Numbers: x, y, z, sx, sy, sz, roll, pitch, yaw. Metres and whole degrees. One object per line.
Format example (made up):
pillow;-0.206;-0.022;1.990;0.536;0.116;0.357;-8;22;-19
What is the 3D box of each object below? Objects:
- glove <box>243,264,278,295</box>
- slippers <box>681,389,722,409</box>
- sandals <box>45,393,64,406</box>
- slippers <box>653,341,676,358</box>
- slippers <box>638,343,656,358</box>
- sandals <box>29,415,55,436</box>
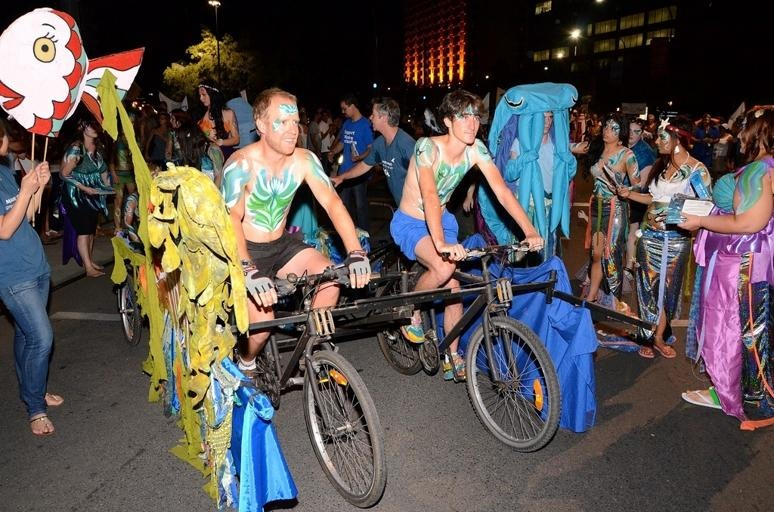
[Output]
glove;-1.052;0.201;4.417;0.338;0.277;0.159;6;17;26
slippers;3.450;1.556;5.988;0.397;0.193;0.147;7;15;29
sandals;-3.672;1.600;5.985;0.200;0.091;0.120;8;32;0
slippers;3.522;1.161;6.908;0.150;0.101;0.323;-9;23;-11
slippers;3.313;1.207;6.928;0.098;0.076;0.264;-4;5;3
sandals;-3.499;1.723;5.522;0.144;0.130;0.258;5;8;-44
